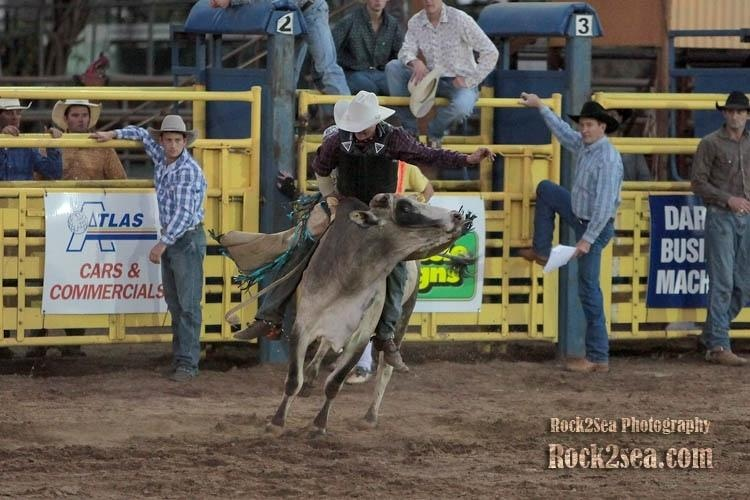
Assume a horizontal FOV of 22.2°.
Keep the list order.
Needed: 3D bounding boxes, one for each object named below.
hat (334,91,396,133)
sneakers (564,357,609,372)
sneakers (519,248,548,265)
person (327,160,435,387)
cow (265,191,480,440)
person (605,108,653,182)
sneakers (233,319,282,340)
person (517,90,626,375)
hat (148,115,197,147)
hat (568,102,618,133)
[{"bbox_3d":[-0.120,-1.674,22.046,0.557,0.218,0.579,16,44,25],"label":"hat"},{"bbox_3d":[2.693,1.505,24.423,0.575,0.210,0.203,5,-9,-2],"label":"sneakers"},{"bbox_3d":[2.031,0.074,24.650,0.202,0.139,0.473,-1,3,-4],"label":"sneakers"},{"bbox_3d":[0.028,0.205,22.255,0.738,1.545,2.899,27,-35,14],"label":"person"},{"bbox_3d":[-0.131,0.733,22.150,2.034,2.843,1.028,2,2,5],"label":"cow"},{"bbox_3d":[3.547,-1.452,26.313,0.791,1.345,0.441,6,18,22],"label":"person"},{"bbox_3d":[-1.443,0.960,22.832,0.665,0.266,0.216,1,8,-2],"label":"sneakers"},{"bbox_3d":[2.547,-0.224,24.284,1.125,3.558,0.717,3,2,32],"label":"person"},{"bbox_3d":[-2.592,-1.570,24.626,0.742,0.289,0.783,0,-18,-9],"label":"hat"},{"bbox_3d":[2.815,-1.668,24.011,0.469,0.164,0.388,25,-15,-16],"label":"hat"}]
